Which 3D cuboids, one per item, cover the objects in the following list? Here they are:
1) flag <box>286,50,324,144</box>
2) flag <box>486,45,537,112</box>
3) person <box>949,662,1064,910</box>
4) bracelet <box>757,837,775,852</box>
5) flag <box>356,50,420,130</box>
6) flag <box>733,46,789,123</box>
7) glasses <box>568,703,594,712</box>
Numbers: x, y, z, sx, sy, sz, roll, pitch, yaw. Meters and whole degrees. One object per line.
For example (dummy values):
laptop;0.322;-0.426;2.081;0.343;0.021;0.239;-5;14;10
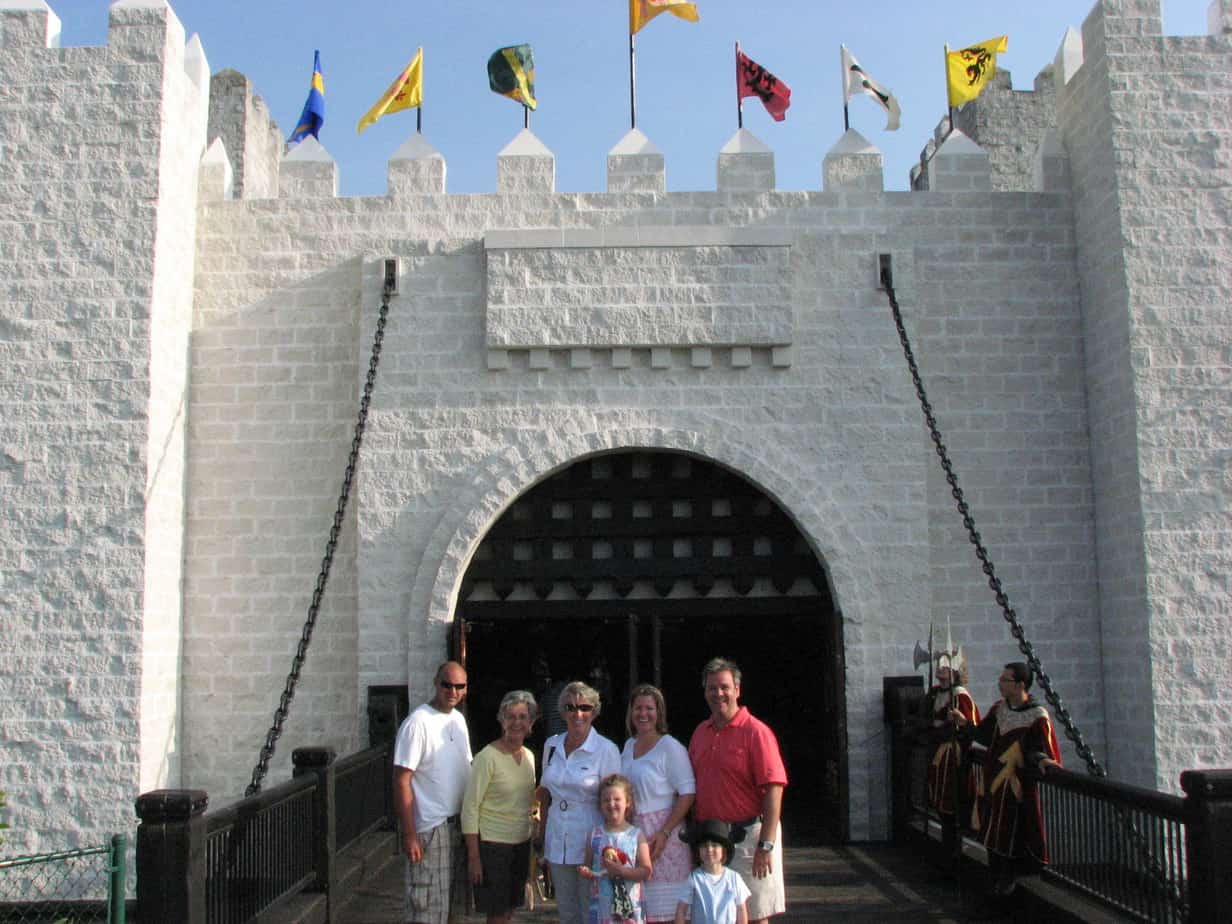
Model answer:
flag;-3.279;-3.923;20.405;0.377;0.257;1.312;9;-38;-5
flag;-1.196;-4.326;20.633;0.387;0.406;0.459;11;-61;-52
person;3.497;3.018;16.981;0.738;2.343;1.573;13;-15;-17
bracelet;1.197;3.091;15.156;0.118;0.083;0.112;-5;-13;6
flag;-2.315;-4.079;20.524;0.584;1.269;0.238;-3;-36;7
flag;1.588;-4.071;20.361;0.515;0.805;0.452;-1;-13;2
glasses;-0.254;2.013;15.287;0.257;0.062;0.112;12;-19;-41
